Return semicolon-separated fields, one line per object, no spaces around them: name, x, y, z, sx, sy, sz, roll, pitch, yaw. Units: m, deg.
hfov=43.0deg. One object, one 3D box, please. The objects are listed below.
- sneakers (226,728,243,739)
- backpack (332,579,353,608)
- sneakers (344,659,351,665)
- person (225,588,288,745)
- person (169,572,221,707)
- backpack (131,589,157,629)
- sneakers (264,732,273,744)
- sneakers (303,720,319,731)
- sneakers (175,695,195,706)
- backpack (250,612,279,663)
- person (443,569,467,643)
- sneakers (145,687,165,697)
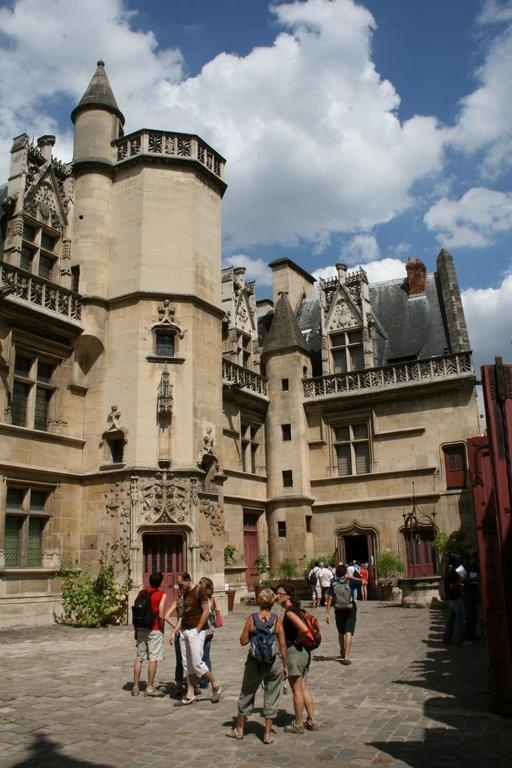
sneakers;-0.208;3.363;6.244;0.152;0.076;0.163;-2;-13;-1
backpack;1.399;3.387;10.460;0.318;0.464;0.289;-4;-13;7
sneakers;1.455;4.426;10.342;0.111;0.111;0.065;-1;-19;3
person;0.021;2.710;6.291;0.563;1.393;0.366;-2;-13;-1
person;-0.728;3.123;7.899;0.486;1.414;0.688;0;-13;-9
backpack;-1.411;2.806;8.095;0.254;0.475;0.317;5;-14;-27
sneakers;0.117;3.347;6.159;0.061;0.123;0.174;6;-14;-5
sneakers;0.548;3.375;6.442;0.071;0.113;0.166;3;-16;-9
sneakers;-0.871;3.772;7.746;0.279;0.118;0.094;10;-24;-4
backpack;0.092;2.471;6.334;0.281;0.431;0.230;0;13;-2
person;3.882;4.348;12.748;0.450;1.445;2.424;-5;-13;16
sneakers;-1.260;3.872;8.153;0.250;0.119;0.130;3;-7;-15
